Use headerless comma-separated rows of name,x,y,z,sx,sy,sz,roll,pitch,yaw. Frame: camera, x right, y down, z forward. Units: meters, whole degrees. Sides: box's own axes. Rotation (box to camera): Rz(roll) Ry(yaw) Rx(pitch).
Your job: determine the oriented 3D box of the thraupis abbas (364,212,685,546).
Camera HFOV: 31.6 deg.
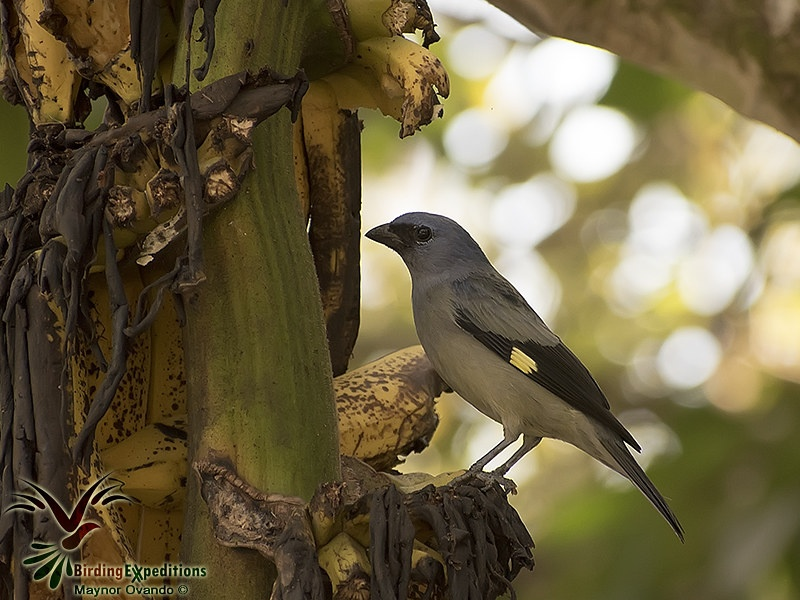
thraupis abbas,0.462,0.234,4.933,1.132,0.875,0.418,12,-18,-3
